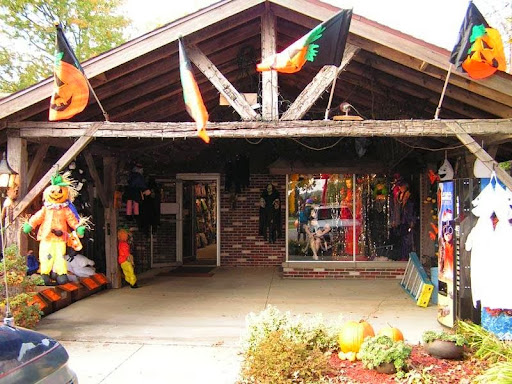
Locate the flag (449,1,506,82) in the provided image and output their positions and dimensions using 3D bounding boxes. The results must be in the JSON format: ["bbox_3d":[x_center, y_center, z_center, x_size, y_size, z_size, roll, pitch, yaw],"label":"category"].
[{"bbox_3d":[3.393,-2.304,7.415,0.825,1.094,0.250,-2,4,-13],"label":"flag"}]

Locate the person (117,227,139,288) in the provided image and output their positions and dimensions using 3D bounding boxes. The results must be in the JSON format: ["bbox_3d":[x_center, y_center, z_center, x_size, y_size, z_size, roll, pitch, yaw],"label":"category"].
[{"bbox_3d":[-2.874,1.450,10.860,0.400,1.305,0.579,-2,4,-16],"label":"person"}]

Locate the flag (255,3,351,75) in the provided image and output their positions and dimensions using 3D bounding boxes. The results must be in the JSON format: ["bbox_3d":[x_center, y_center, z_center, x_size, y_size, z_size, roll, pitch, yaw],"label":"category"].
[{"bbox_3d":[0.786,-2.192,7.624,1.289,0.876,0.442,-27,13,-13],"label":"flag"}]

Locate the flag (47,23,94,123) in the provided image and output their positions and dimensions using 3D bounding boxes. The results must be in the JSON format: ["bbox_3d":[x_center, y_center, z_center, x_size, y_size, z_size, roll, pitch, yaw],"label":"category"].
[{"bbox_3d":[-2.930,-1.836,7.642,0.560,1.353,0.511,-4,5,-35],"label":"flag"}]

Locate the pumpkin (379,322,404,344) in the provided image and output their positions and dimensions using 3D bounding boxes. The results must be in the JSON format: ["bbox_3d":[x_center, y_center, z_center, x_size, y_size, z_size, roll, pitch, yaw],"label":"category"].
[{"bbox_3d":[1.885,1.946,6.767,0.336,0.374,0.357,2,1,13],"label":"pumpkin"}]

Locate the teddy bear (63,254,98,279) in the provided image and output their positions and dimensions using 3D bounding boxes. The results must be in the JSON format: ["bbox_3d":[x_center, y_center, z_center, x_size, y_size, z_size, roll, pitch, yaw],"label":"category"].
[{"bbox_3d":[-3.759,1.563,10.338,0.467,0.476,0.675,0,4,12],"label":"teddy bear"}]

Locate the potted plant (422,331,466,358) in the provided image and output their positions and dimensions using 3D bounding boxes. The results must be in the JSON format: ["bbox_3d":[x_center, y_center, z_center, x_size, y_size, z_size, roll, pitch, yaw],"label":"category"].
[{"bbox_3d":[2.563,2.104,6.747,0.502,0.306,0.535,1,-11,29],"label":"potted plant"}]

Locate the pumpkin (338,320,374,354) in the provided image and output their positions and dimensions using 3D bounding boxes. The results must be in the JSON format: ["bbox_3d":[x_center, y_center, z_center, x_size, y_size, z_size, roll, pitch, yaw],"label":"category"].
[{"bbox_3d":[1.408,1.951,6.780,0.440,0.443,0.432,-3,1,-30],"label":"pumpkin"}]

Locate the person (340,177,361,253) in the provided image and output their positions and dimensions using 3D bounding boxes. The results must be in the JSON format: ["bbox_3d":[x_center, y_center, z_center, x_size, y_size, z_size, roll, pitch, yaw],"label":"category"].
[{"bbox_3d":[2.313,0.606,11.713,0.475,1.969,0.236,0,4,11],"label":"person"}]
